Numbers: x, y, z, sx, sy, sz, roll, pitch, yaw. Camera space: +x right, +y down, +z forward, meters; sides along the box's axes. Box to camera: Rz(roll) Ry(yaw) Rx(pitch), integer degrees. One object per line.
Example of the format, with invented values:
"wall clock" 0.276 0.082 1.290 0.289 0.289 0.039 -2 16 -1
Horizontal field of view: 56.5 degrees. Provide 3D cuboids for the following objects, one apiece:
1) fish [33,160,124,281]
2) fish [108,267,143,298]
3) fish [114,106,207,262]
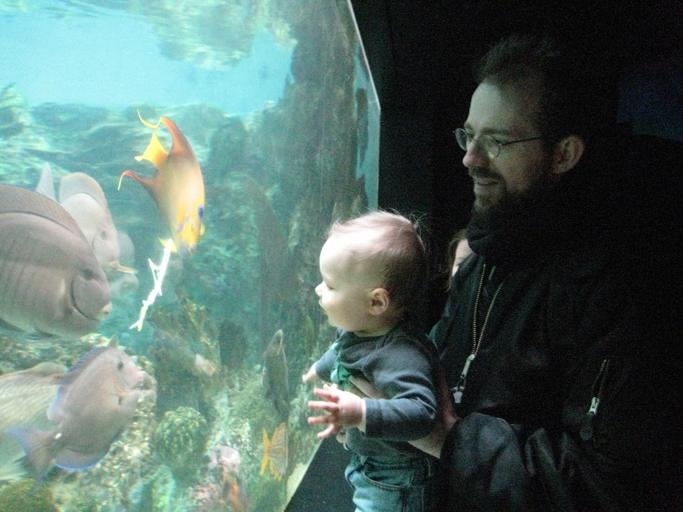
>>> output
"fish" -0.623 -0.089 1.562 0.099 0.150 0.285 2 -53 24
"fish" -0.562 0.072 1.653 0.051 0.070 0.067 11 4 4
"fish" -0.482 -0.206 1.840 0.101 0.252 0.386 4 -31 17
